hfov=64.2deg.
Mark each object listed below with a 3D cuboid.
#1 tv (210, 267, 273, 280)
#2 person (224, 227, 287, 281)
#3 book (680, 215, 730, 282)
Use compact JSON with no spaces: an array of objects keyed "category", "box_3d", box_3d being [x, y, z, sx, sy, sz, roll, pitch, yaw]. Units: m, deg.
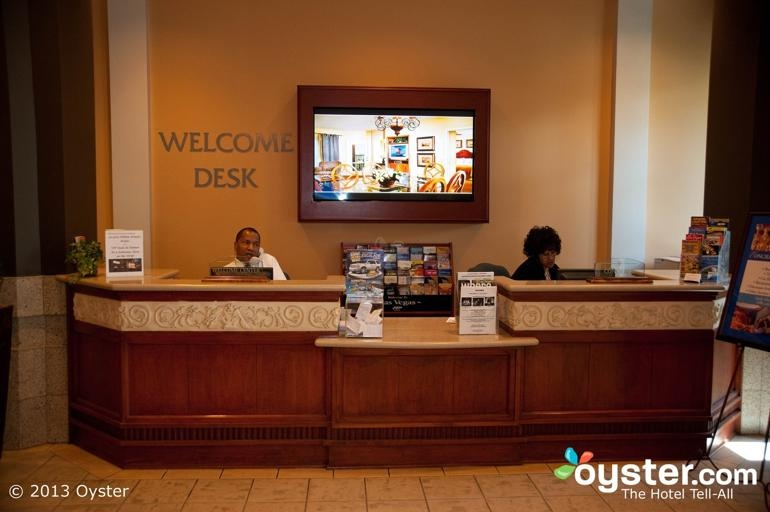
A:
[{"category":"tv","box_3d":[-1.316,0.163,5.638,0.553,0.117,0.132,-1,9,-5]},{"category":"person","box_3d":[-1.378,0.019,6.317,0.832,0.566,0.419,-1,-6,-21]},{"category":"book","box_3d":[3.022,-0.047,5.748,0.570,0.616,0.277,-4,10,-22]}]
